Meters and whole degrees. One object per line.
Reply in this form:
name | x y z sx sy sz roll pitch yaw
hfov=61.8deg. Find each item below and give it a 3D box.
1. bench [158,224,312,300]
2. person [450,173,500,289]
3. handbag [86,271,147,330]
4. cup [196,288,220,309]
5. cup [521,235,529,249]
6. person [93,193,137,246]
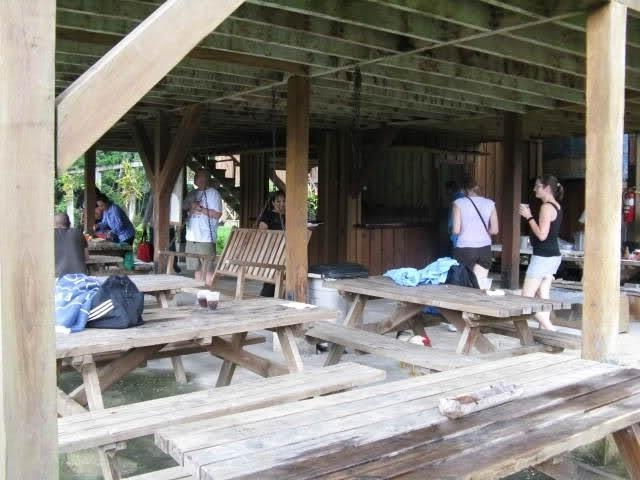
bench | -1.136 0.308 7.238 1.142 0.914 0.486 3 -1 42
person | 1.899 -0.133 6.553 0.538 1.233 0.439 3 6 14
handbag | -1.435 0.449 3.723 0.256 0.378 0.410 -15 -9 18
cup | -0.883 0.463 4.221 0.141 0.110 0.149 -1 1 0
cup | 3.526 0.042 9.068 0.140 0.203 0.227 0 1 9
person | -4.039 -0.410 10.406 1.067 0.895 0.520 6 7 34
